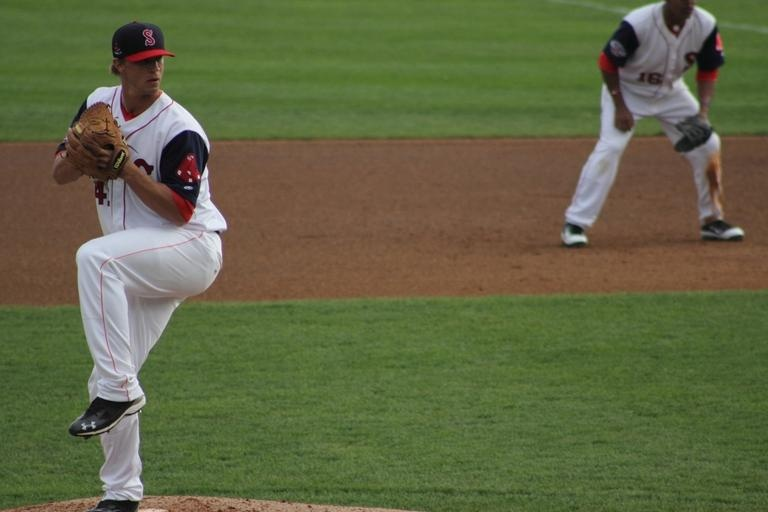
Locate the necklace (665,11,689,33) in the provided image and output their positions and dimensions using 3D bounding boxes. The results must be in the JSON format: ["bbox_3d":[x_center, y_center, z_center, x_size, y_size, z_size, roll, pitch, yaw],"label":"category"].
[{"bbox_3d":[2.999,-2.404,15.407,0.206,0.198,0.199,-2,-18,-3],"label":"necklace"}]

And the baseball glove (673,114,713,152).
[{"bbox_3d":[3.276,-1.291,15.865,0.413,0.375,0.187,-12,-9,28],"label":"baseball glove"}]

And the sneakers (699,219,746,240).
[{"bbox_3d":[3.626,-0.272,16.061,0.518,0.213,0.186,1,20,11],"label":"sneakers"}]

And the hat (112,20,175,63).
[{"bbox_3d":[-2.115,-1.854,12.972,0.487,0.253,0.341,-1,13,22],"label":"hat"}]

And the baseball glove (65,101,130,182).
[{"bbox_3d":[-2.449,-0.972,12.811,0.516,0.637,0.279,-5,11,-4],"label":"baseball glove"}]
